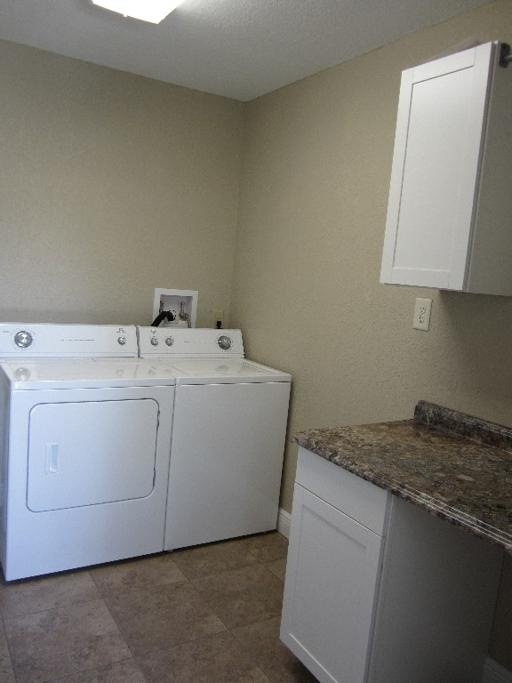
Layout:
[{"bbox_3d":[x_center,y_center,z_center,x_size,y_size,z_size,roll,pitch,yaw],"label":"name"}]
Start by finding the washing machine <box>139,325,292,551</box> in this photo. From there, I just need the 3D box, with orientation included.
[{"bbox_3d":[-0.194,0.490,2.677,0.549,1.060,0.807,0,10,-33],"label":"washing machine"}]

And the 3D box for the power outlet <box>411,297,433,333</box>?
[{"bbox_3d":[0.597,-0.098,1.809,0.023,0.159,0.109,0,6,-25],"label":"power outlet"}]
